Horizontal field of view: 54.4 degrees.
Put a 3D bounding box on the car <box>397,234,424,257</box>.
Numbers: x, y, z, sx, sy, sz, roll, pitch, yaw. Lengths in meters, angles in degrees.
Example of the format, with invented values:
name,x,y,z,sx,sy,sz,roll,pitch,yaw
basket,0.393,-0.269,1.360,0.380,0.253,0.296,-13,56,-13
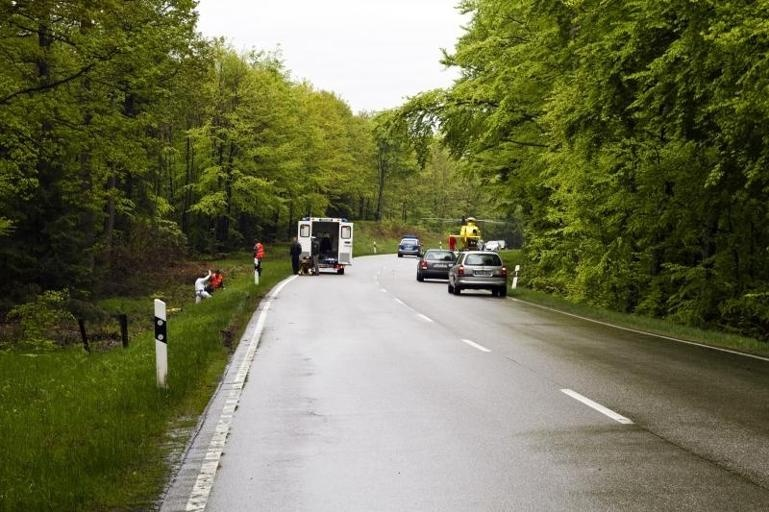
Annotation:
name,x,y,z,sx,sy,sz,roll,pitch,yaw
car,2.623,-0.772,73.699,1.526,1.357,2.888,1,8,9

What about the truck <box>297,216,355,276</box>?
name,x,y,z,sx,sy,sz,roll,pitch,yaw
truck,-3.285,-0.717,42.891,2.642,2.321,3.852,1,3,-2
